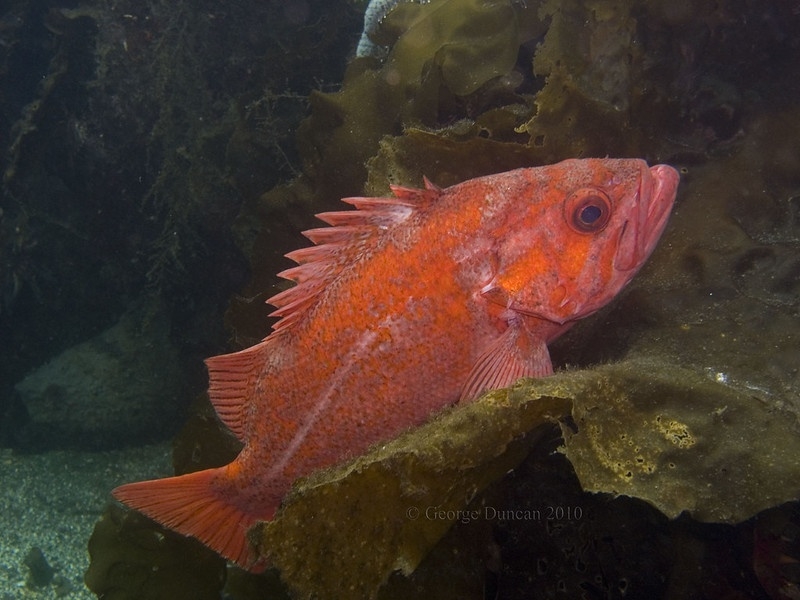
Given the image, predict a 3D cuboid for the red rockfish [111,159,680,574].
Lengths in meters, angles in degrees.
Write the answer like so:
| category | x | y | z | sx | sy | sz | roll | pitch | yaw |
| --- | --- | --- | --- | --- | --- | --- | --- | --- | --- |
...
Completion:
| category | x | y | z | sx | sy | sz | roll | pitch | yaw |
| --- | --- | --- | --- | --- | --- | --- | --- | --- | --- |
| red rockfish | -0.029 | 0.180 | 7.069 | 4.523 | 2.158 | 1.303 | -35 | 39 | -9 |
